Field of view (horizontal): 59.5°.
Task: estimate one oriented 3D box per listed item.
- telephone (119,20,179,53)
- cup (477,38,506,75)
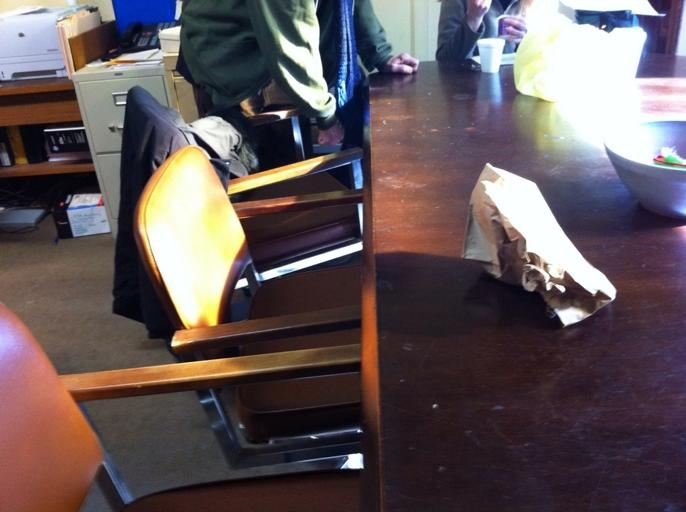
[{"bbox_3d":[-1.050,-1.161,3.223,0.266,0.127,0.361,0,35,2],"label":"telephone"},{"bbox_3d":[0.480,-0.665,2.000,0.111,0.114,0.108,-3,33,2],"label":"cup"}]
